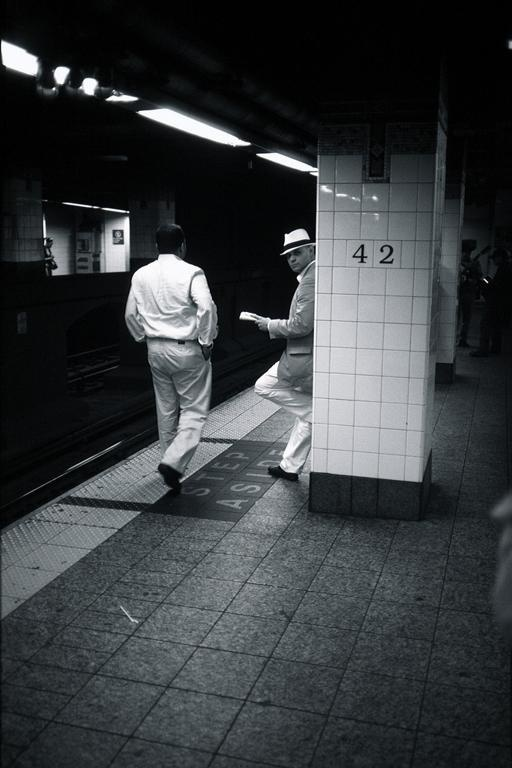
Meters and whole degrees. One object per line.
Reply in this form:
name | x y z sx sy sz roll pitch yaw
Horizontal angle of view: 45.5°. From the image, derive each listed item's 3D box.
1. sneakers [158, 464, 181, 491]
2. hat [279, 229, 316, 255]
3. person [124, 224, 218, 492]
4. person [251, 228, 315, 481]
sneakers | -0.682 0.738 4.878 0.174 0.259 0.233 -2 6 -1
hat | 0.347 -1.163 4.974 0.231 0.222 0.474 -1 7 4
person | -0.671 -0.241 4.998 0.594 2.148 0.811 -7 8 -42
person | 0.237 -0.202 4.945 0.509 2.076 0.887 -1 6 2
